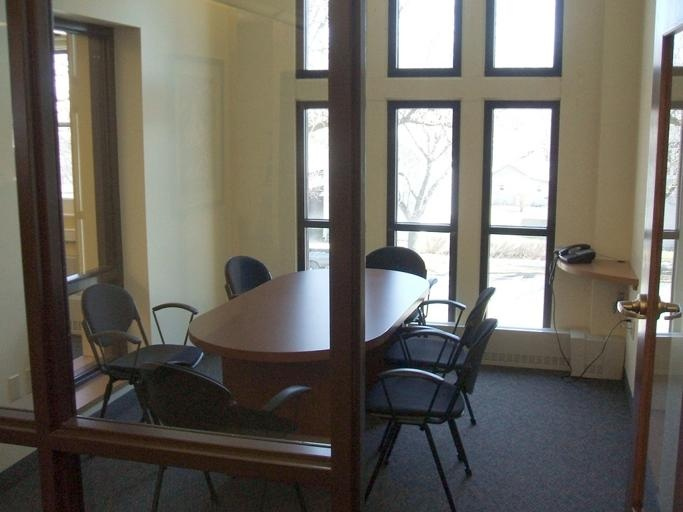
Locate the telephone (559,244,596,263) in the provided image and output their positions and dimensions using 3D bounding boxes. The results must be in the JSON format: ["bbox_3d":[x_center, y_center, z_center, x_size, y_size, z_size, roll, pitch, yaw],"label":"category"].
[{"bbox_3d":[1.845,-0.015,4.491,0.295,0.117,0.273,0,12,2],"label":"telephone"}]

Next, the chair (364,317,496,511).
[{"bbox_3d":[0.466,0.694,3.378,0.843,1.277,0.892,3,3,16],"label":"chair"}]

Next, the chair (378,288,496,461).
[{"bbox_3d":[0.560,0.636,3.818,0.794,1.162,0.849,4,7,18],"label":"chair"}]

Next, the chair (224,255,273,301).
[{"bbox_3d":[-0.283,0.053,1.705,0.114,0.197,0.124,-5,5,-21],"label":"chair"}]

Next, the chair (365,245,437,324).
[{"bbox_3d":[0.392,0.166,4.075,0.541,0.757,0.530,0,-5,10],"label":"chair"}]
